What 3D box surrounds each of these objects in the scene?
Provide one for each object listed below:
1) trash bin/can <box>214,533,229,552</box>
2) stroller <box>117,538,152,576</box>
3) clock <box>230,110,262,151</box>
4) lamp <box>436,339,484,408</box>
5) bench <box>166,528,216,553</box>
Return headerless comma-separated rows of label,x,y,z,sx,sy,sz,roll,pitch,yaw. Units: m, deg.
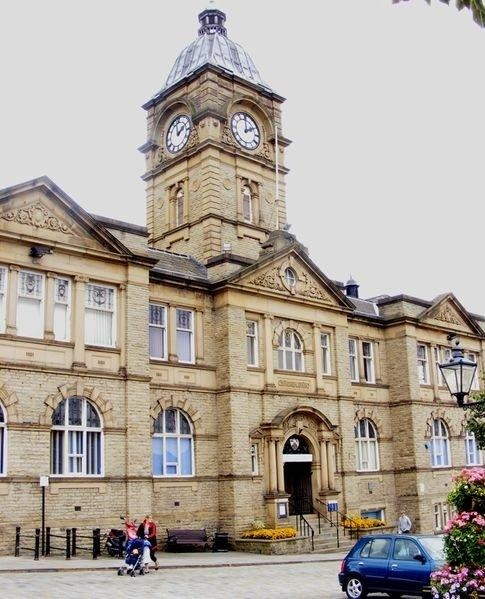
trash bin/can,-0.643,8.623,27.350,0.615,0.762,0.579,-2,-21,8
stroller,-2.672,6.353,19.010,0.590,0.794,0.872,0,-5,33
clock,0.085,-8.262,37.686,0.197,2.143,2.318,-22,-24,35
lamp,3.925,1.315,13.877,0.626,1.341,1.506,-8,-18,14
bench,-1.770,8.304,26.542,1.979,0.776,1.202,6,-19,-28
